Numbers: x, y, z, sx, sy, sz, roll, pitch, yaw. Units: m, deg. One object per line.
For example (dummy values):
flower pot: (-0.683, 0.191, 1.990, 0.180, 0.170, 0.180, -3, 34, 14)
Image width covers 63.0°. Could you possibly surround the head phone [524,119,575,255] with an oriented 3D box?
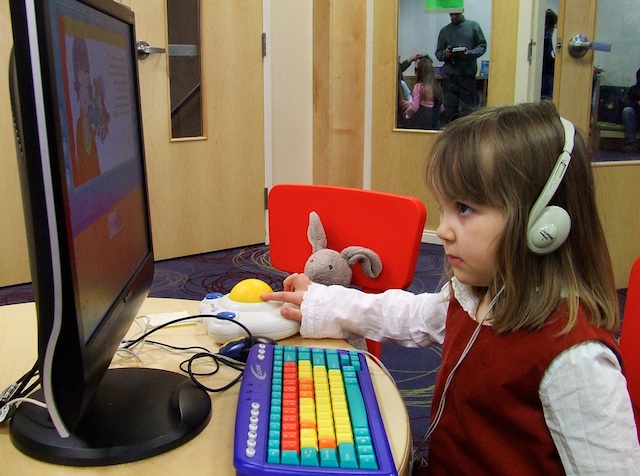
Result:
head phone: (0.343, -0.077, 0.761, 0.054, 0.184, 0.115, 9, 17, 34)
